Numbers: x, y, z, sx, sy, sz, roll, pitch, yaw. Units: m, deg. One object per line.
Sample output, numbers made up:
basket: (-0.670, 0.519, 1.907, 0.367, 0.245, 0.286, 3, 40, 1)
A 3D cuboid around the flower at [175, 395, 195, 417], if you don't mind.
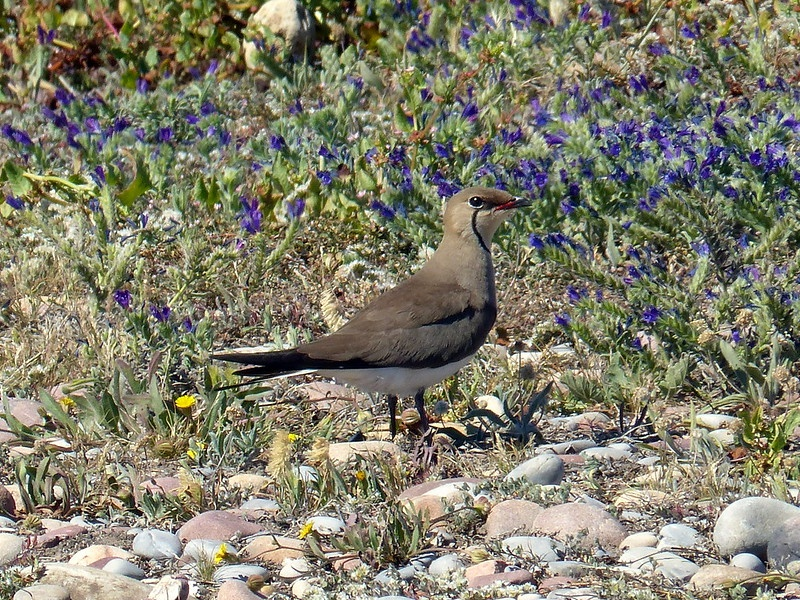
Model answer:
flower: (-1.018, 0.508, 5.276, 0.063, 0.088, 0.061, -18, 47, -16)
